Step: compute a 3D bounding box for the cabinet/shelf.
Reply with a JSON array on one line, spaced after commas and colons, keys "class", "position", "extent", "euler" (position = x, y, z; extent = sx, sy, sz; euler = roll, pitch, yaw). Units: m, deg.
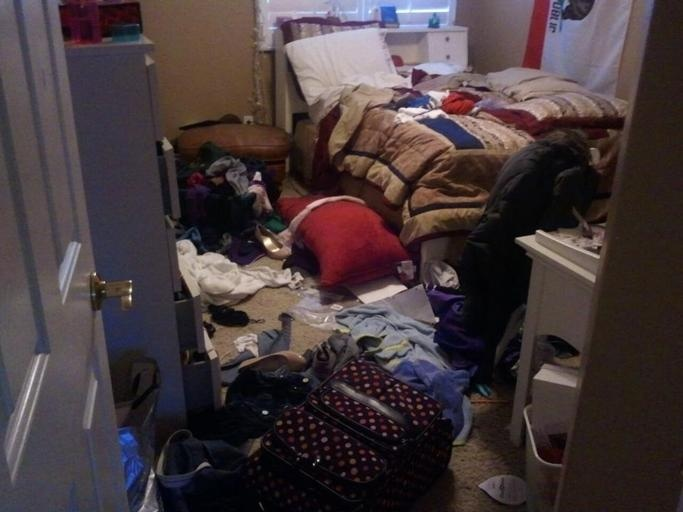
[{"class": "cabinet/shelf", "position": [-0.604, 0.020, 1.637], "extent": [0.277, 1.251, 0.429], "euler": [20, 34, 37]}]

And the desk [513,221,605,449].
[{"class": "desk", "position": [0.666, 0.302, 1.796], "extent": [0.184, 0.795, 0.325], "euler": [3, 27, 10]}]

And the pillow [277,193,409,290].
[{"class": "pillow", "position": [0.051, -0.084, 2.858], "extent": [0.469, 0.250, 0.750], "euler": [-14, 33, -21]}]

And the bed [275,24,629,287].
[{"class": "bed", "position": [0.456, -0.977, 3.853], "extent": [1.448, 0.887, 1.927], "euler": [-13, 29, -22]}]

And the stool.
[{"class": "stool", "position": [-0.739, -0.839, 3.895], "extent": [0.539, 0.274, 0.551], "euler": [1, 24, -6]}]

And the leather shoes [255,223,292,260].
[{"class": "leather shoes", "position": [-0.417, -0.086, 3.238], "extent": [0.148, 0.085, 0.250], "euler": [-37, 68, -14]}]

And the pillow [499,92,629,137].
[{"class": "pillow", "position": [1.486, -0.842, 3.453], "extent": [0.598, 0.181, 0.516], "euler": [-8, 28, -12]}]
